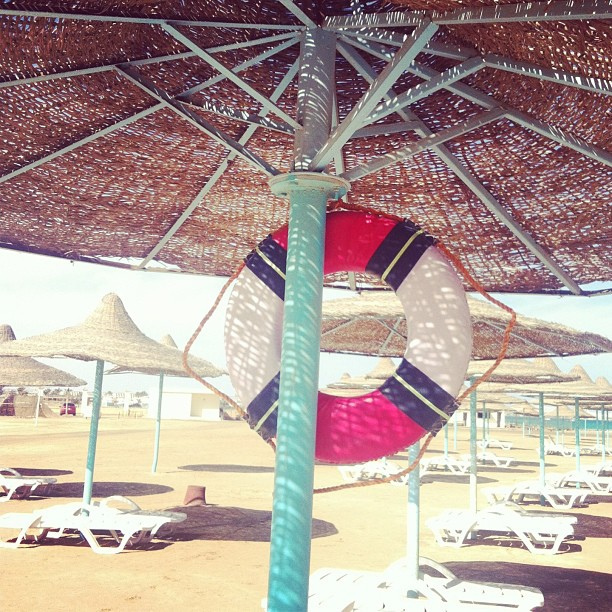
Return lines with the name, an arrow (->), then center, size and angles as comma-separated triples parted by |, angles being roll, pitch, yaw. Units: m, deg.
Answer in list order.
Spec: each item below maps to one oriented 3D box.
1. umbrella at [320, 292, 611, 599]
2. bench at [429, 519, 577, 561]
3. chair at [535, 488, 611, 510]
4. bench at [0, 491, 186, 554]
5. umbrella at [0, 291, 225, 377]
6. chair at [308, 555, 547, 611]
umbrella -> 1.919, 1.040, 7.361 | 3.584, 2.478, 2.770 | 1, -8, 0
bench -> 2.537, 2.860, 7.646 | 1.574, 0.507, 1.735 | -1, -10, 19
chair -> 5.070, 3.681, 11.429 | 1.736, 0.287, 0.720 | 4, -17, -4
bench -> -2.310, 2.389, 6.682 | 1.921, 0.353, 0.920 | 1, -4, -1
umbrella -> -3.983, 0.790, 12.314 | 4.202, 0.992, 3.464 | 3, -3, 1
chair -> 0.940, 2.086, 4.478 | 1.803, 0.348, 0.914 | 2, -9, 0
